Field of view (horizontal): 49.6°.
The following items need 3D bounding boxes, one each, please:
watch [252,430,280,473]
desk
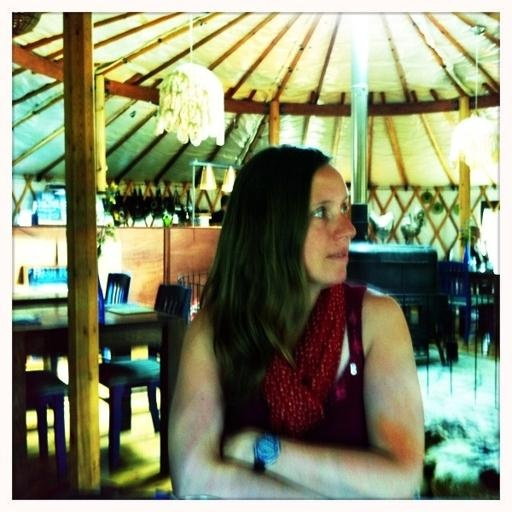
[{"bbox_3d":[0.022,0.425,1.190,0.046,0.077,0.018,-4,-13,21],"label":"watch"},{"bbox_3d":[-0.700,0.631,2.893,0.745,0.708,0.843,-9,-6,25],"label":"desk"}]
